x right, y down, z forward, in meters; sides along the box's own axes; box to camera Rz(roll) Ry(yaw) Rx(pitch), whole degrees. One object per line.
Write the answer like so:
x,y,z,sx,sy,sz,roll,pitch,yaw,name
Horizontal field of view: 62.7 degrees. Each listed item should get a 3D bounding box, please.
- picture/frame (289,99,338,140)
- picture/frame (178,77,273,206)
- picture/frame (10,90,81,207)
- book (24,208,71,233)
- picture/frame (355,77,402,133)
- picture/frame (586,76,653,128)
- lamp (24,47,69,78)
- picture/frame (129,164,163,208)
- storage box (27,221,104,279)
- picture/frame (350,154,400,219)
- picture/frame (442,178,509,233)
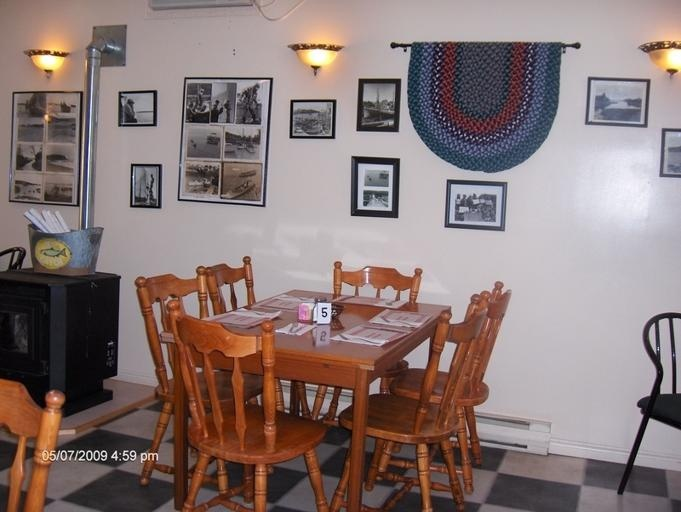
-0.175,-0.970,3.945,0.279,0.235,0.021,6,10,20,picture/frame
-0.811,-0.856,4.108,0.886,1.164,0.042,4,6,16,picture/frame
-2.373,-0.894,4.544,0.911,1.196,0.042,4,6,20,picture/frame
-2.097,-0.249,4.024,0.109,0.239,0.301,-21,13,-15,book
0.277,-1.038,3.822,0.362,0.424,0.031,4,8,15,picture/frame
1.756,-0.963,3.478,0.330,0.280,0.027,1,5,12,picture/frame
-2.308,-1.526,4.410,0.249,0.201,0.203,6,7,17,lamp
-1.494,-0.544,4.331,0.323,0.401,0.026,3,2,17,picture/frame
-1.950,-0.136,3.990,0.572,0.348,0.338,3,7,6,storage box
0.255,-0.489,3.860,0.425,0.508,0.040,2,6,15,picture/frame
0.913,-0.337,3.702,0.350,0.297,0.025,3,3,16,picture/frame
